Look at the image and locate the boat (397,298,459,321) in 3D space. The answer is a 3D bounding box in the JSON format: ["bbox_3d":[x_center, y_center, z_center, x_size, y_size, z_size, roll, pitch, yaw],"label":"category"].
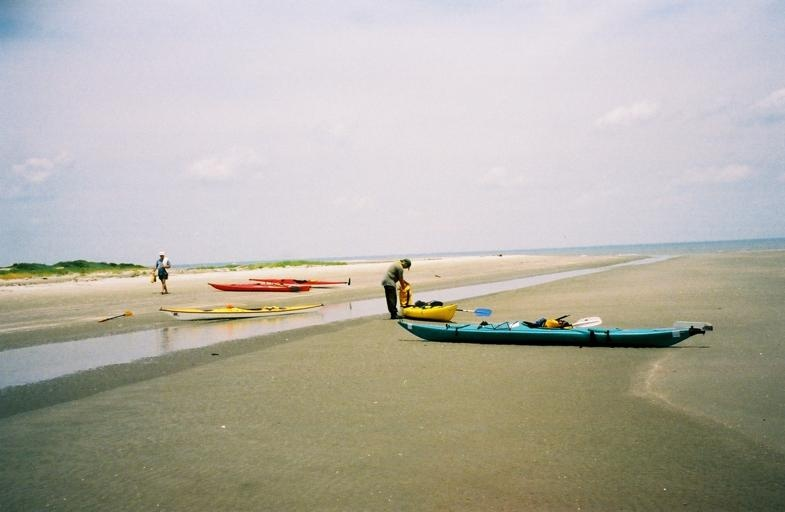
[{"bbox_3d":[1.389,2.029,22.396,0.811,0.466,1.935,-4,-1,-42],"label":"boat"}]
